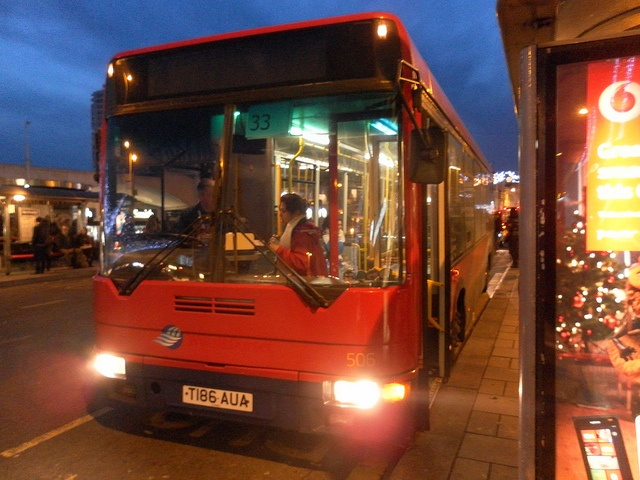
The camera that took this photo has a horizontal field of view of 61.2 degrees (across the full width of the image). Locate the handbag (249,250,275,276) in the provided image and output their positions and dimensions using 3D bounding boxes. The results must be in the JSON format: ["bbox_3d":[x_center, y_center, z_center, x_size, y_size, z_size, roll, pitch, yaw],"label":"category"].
[{"bbox_3d":[-0.469,0.176,4.339,0.187,0.108,0.181,0,-6,19],"label":"handbag"}]

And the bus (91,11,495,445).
[{"bbox_3d":[0.828,-0.257,8.655,3.263,3.442,9.246,1,1,20],"label":"bus"}]
